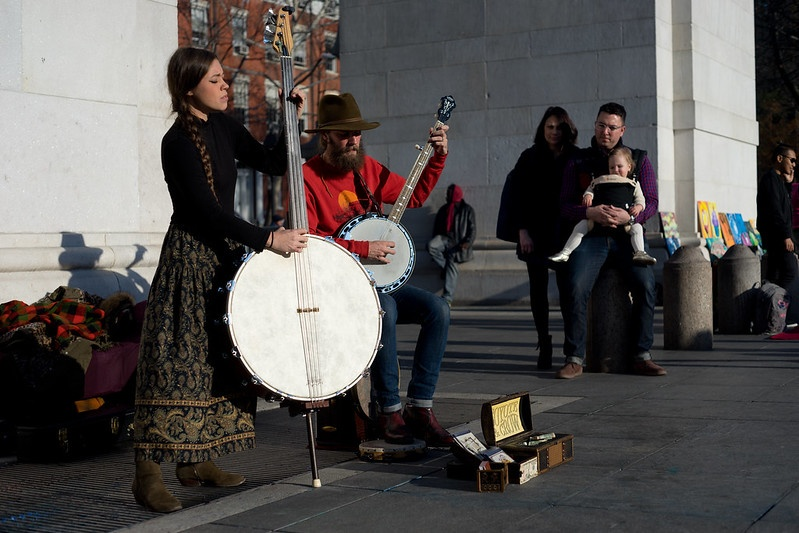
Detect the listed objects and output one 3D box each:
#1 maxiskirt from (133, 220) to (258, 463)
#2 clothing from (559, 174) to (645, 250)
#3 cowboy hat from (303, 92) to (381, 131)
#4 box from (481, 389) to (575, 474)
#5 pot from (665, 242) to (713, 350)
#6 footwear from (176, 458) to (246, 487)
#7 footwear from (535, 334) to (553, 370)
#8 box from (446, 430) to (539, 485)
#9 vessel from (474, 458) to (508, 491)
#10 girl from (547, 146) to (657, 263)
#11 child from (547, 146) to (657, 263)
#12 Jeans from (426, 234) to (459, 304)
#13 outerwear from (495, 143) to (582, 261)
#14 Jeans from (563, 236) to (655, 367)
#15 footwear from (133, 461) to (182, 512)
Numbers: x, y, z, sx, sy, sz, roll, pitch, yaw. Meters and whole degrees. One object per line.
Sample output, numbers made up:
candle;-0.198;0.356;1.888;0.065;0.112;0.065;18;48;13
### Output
maxiskirt;-1.503;0.395;8.497;0.629;2.033;0.849;-8;-10;31
clothing;2.111;-0.542;11.401;0.592;0.812;0.324;8;-1;15
cowboy hat;-0.464;-1.240;9.302;0.594;0.283;0.716;-10;13;-22
box;0.941;1.228;8.595;0.606;0.497;0.622;-1;5;21
pot;3.202;0.360;12.847;0.512;1.077;0.442;0;10;12
footwear;-1.407;1.499;8.549;0.546;0.230;0.192;-4;-4;-3
footwear;1.461;0.868;11.915;0.152;0.327;0.364;-2;6;34
box;0.660;1.385;8.374;0.594;0.302;0.328;-7;-4;31
vessel;0.663;1.482;8.219;0.216;0.189;0.151;-1;10;7
girl;2.002;-0.611;11.525;1.077;1.190;0.716;7;6;31
child;2.002;-0.611;11.525;1.077;1.190;0.716;7;6;31
Jeans;0.715;0.029;18.295;0.569;0.976;0.286;-9;6;27
outerwear;1.488;-0.736;12.225;0.863;1.136;0.447;17;19;24
Jeans;2.148;0.330;11.546;0.910;1.274;0.426;1;7;22
footwear;-1.713;1.524;8.135;0.194;0.340;0.376;-11;13;-42
